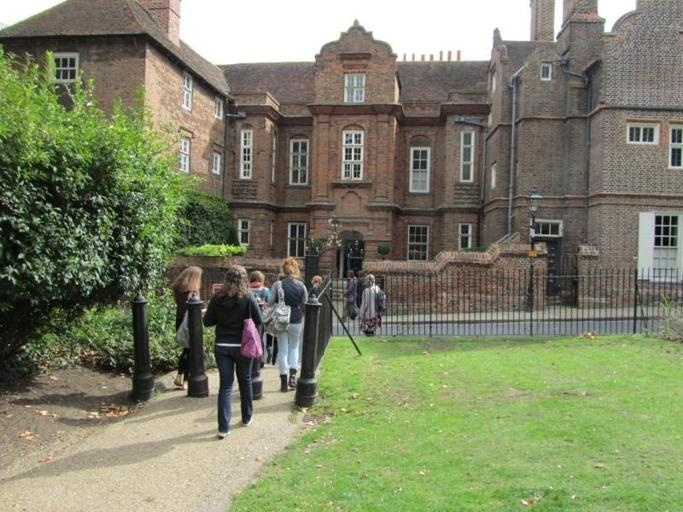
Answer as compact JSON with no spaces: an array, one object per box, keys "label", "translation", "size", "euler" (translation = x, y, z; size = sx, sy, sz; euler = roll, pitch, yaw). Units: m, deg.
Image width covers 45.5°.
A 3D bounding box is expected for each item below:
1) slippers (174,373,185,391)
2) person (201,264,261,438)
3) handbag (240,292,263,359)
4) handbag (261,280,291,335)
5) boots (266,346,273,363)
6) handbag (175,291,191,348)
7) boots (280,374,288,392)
[{"label":"slippers","translation":[-3.565,2.764,17.936],"size":[0.180,0.376,0.384],"euler":[7,6,11]},{"label":"person","translation":[-2.097,1.826,15.711],"size":[1.033,3.293,0.483],"euler":[1,-1,-11]},{"label":"handbag","translation":[-1.749,1.351,15.692],"size":[0.396,1.226,0.314],"euler":[0,-1,-6]},{"label":"handbag","translation":[-1.350,1.198,17.569],"size":[0.528,1.334,0.934],"euler":[9,-21,-17]},{"label":"boots","translation":[-1.733,2.376,19.584],"size":[0.125,0.386,0.262],"euler":[6,12,-14]},{"label":"handbag","translation":[-3.365,1.408,17.291],"size":[0.309,1.117,0.530],"euler":[1,-1,-10]},{"label":"boots","translation":[-1.242,2.732,17.560],"size":[0.163,0.356,0.201],"euler":[0,-1,-4]}]
